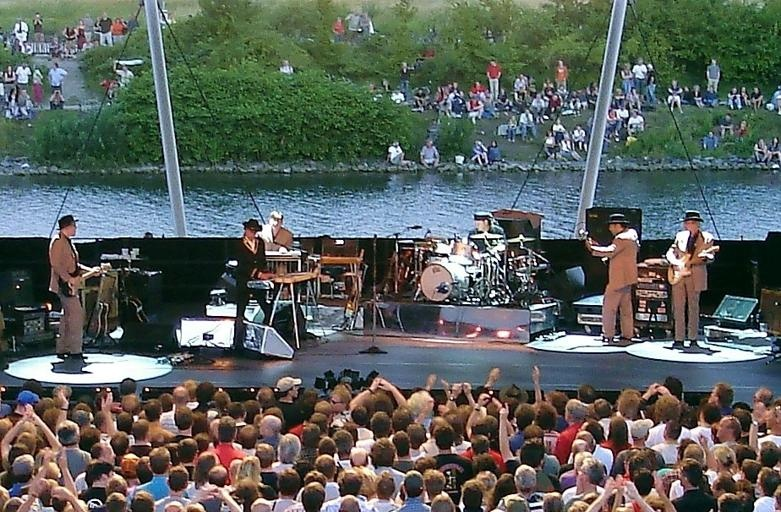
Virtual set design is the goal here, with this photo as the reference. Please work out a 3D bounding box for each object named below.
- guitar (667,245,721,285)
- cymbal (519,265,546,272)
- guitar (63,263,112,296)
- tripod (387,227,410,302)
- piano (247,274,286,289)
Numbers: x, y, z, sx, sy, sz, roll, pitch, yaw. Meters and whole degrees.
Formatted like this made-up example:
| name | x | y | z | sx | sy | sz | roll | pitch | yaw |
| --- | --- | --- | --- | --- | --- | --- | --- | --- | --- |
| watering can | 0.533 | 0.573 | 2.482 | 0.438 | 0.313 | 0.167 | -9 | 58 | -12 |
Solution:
| name | x | y | z | sx | sy | sz | roll | pitch | yaw |
| --- | --- | --- | --- | --- | --- | --- | --- | --- | --- |
| guitar | 8.070 | 0.228 | 45.871 | 1.182 | 1.045 | 0.343 | 1 | 9 | 10 |
| cymbal | 3.972 | 0.324 | 47.384 | 0.974 | 0.161 | 0.073 | -2 | 9 | -42 |
| guitar | -8.191 | 0.699 | 45.265 | 0.986 | 0.396 | 0.705 | -15 | 34 | 6 |
| tripod | 0.229 | 0.189 | 48.585 | 0.510 | 1.535 | 1.071 | -1 | 9 | 0 |
| piano | -3.394 | 0.684 | 45.340 | 0.797 | 0.421 | 0.402 | -5 | 10 | -27 |
